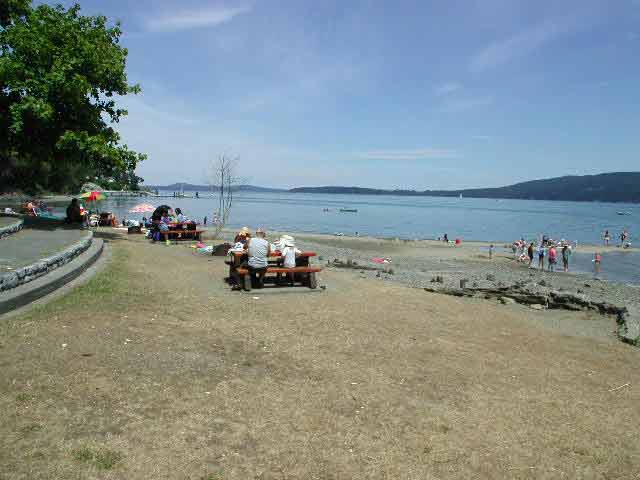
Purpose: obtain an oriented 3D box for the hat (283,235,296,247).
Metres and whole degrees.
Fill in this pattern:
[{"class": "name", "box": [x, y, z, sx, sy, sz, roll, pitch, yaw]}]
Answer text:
[{"class": "hat", "box": [-0.867, 0.030, 14.679, 0.360, 0.147, 0.354, 2, 4, 2]}]
